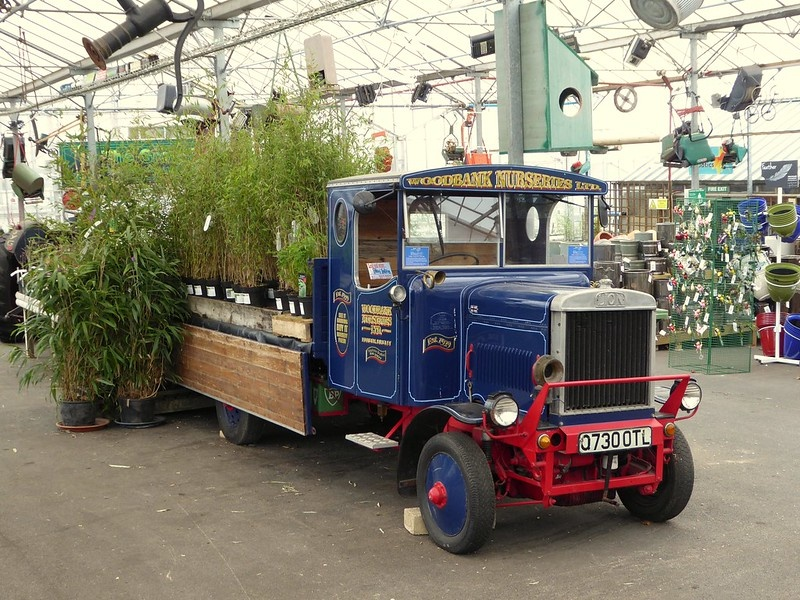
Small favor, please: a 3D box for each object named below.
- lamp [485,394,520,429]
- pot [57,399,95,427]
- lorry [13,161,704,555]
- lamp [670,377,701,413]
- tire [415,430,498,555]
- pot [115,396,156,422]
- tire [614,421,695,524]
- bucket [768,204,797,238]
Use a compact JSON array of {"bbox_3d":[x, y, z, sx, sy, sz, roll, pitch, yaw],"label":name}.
[{"bbox_3d":[0.616,0.679,4.002,0.185,0.207,0.104,-9,5,-32],"label":"lamp"},{"bbox_3d":[-3.347,1.127,6.880,0.280,0.202,0.287,-1,5,0],"label":"pot"},{"bbox_3d":[0.079,0.123,6.046,1.818,2.529,4.949,-2,5,-39],"label":"lorry"},{"bbox_3d":[1.949,0.650,4.442,0.216,0.231,0.085,-6,8,-39],"label":"lamp"},{"bbox_3d":[0.378,1.239,4.232,0.181,0.552,0.535,-6,45,-35],"label":"tire"},{"bbox_3d":[-2.795,1.173,7.073,0.284,0.197,0.292,1,4,0],"label":"pot"},{"bbox_3d":[1.694,1.162,4.437,0.193,0.663,0.540,5,17,-21],"label":"tire"},{"bbox_3d":[5.664,-1.174,9.836,0.380,0.508,0.438,3,7,31],"label":"bucket"}]
